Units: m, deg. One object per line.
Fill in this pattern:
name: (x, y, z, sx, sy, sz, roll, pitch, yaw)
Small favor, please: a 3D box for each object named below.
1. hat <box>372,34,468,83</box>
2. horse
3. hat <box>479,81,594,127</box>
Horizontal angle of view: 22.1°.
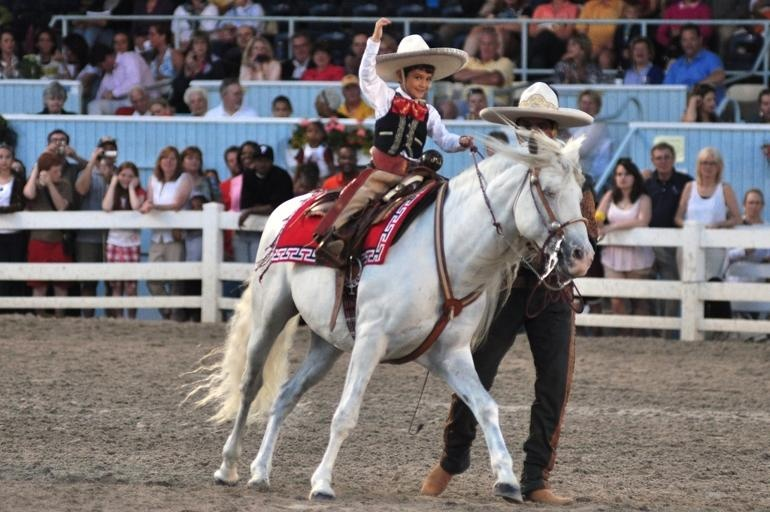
hat: (0.429, -2.472, 24.324, 1.108, 0.553, 0.461, 0, 4, -1)
horse: (-0.085, 0.846, 24.526, 6.168, 4.748, 1.803, -4, -12, 43)
hat: (1.829, -1.790, 23.871, 0.814, 0.351, 0.739, -1, -6, 17)
